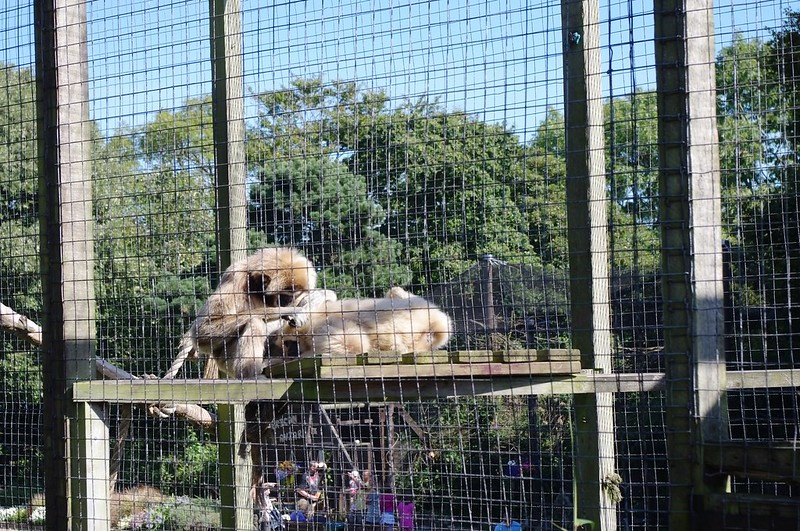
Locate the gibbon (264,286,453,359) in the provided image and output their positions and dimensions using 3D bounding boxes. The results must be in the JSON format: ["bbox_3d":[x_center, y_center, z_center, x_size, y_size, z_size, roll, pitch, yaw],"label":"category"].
[{"bbox_3d":[-0.269,0.656,16.063,1.262,0.469,0.948,-2,-8,-18],"label":"gibbon"}]
